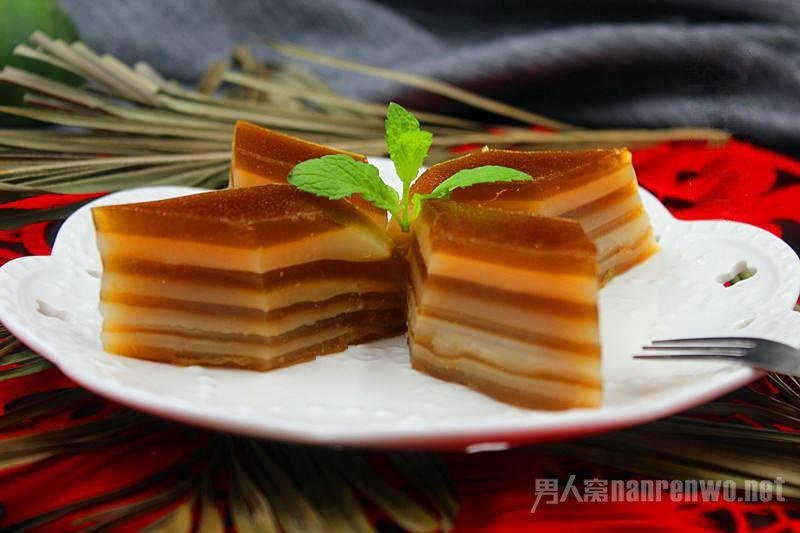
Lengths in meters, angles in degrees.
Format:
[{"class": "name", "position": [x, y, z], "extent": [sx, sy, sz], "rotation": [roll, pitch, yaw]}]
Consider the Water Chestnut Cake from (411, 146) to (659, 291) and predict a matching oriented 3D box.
[{"class": "Water Chestnut Cake", "position": [0.492, -0.183, 2.722], "extent": [0.732, 0.172, 0.770], "rotation": [16, 26, 43]}]
